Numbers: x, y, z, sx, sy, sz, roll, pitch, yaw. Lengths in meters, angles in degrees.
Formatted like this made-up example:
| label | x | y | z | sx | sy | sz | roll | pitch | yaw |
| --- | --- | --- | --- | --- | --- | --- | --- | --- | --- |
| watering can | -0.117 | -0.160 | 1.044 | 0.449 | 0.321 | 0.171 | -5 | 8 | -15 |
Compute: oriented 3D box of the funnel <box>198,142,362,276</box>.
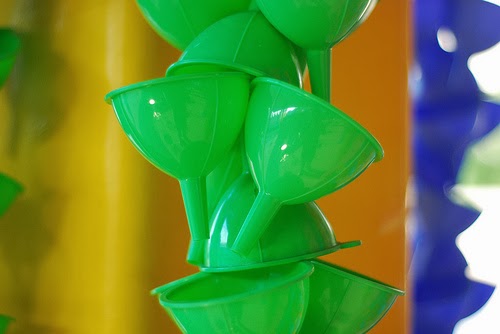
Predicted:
| label | x | y | z | sx | sy | sz | roll | pitch | yaw |
| --- | --- | --- | --- | --- | --- | --- | --- | --- | --- |
| funnel | 0.042 | 0.047 | 0.827 | 0.154 | 0.181 | 0.202 | 15 | 32 | 40 |

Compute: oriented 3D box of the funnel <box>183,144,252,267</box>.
| label | x | y | z | sx | sy | sz | roll | pitch | yaw |
| --- | --- | --- | --- | --- | --- | --- | --- | --- | --- |
| funnel | -0.050 | 0.030 | 0.825 | 0.050 | 0.261 | 0.069 | 6 | -9 | -5 |

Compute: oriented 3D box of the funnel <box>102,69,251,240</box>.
| label | x | y | z | sx | sy | sz | roll | pitch | yaw |
| --- | --- | --- | --- | --- | --- | --- | --- | --- | --- |
| funnel | -0.078 | -0.023 | 0.869 | 0.200 | 0.228 | 0.215 | -13 | -15 | 6 |

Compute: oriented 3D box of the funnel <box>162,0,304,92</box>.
| label | x | y | z | sx | sy | sz | roll | pitch | yaw |
| --- | --- | --- | --- | --- | --- | --- | --- | --- | --- |
| funnel | -0.006 | -0.166 | 0.794 | 0.131 | 0.090 | 0.116 | -1 | -5 | -3 |
